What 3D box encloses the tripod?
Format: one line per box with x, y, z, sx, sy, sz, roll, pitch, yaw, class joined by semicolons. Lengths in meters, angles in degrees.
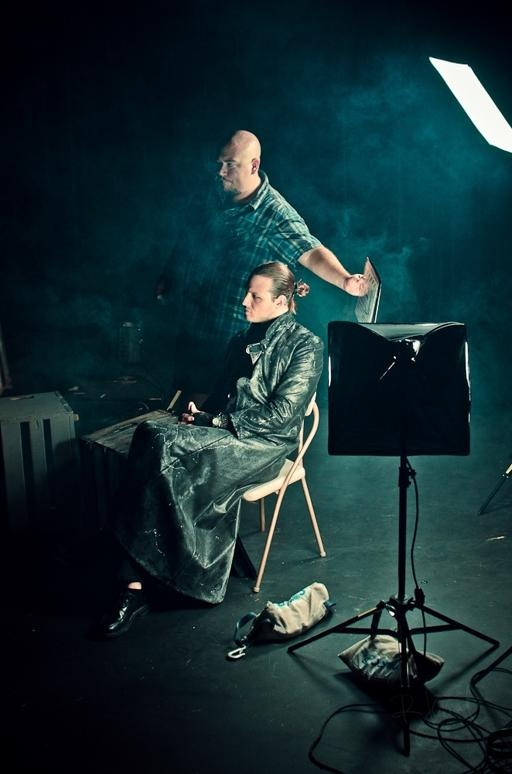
0.465;0.541;1.985;0.558;0.672;0.536;-8;13;-32;tripod

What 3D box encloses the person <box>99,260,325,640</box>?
-0.206;0.148;2.550;0.509;1.225;1.084;8;15;39;person
